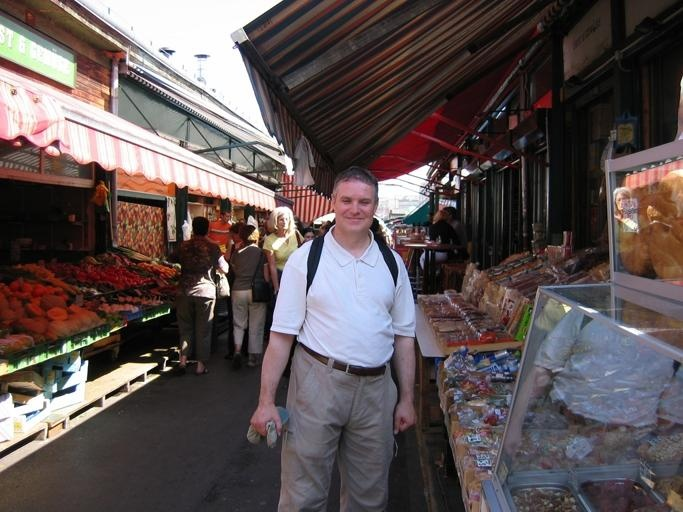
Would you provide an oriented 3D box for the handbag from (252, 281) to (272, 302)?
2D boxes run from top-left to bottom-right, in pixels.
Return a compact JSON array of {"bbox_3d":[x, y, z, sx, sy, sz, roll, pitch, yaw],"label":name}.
[{"bbox_3d":[-1.087,0.470,6.420,0.250,0.261,0.086,-1,5,-18],"label":"handbag"}]
